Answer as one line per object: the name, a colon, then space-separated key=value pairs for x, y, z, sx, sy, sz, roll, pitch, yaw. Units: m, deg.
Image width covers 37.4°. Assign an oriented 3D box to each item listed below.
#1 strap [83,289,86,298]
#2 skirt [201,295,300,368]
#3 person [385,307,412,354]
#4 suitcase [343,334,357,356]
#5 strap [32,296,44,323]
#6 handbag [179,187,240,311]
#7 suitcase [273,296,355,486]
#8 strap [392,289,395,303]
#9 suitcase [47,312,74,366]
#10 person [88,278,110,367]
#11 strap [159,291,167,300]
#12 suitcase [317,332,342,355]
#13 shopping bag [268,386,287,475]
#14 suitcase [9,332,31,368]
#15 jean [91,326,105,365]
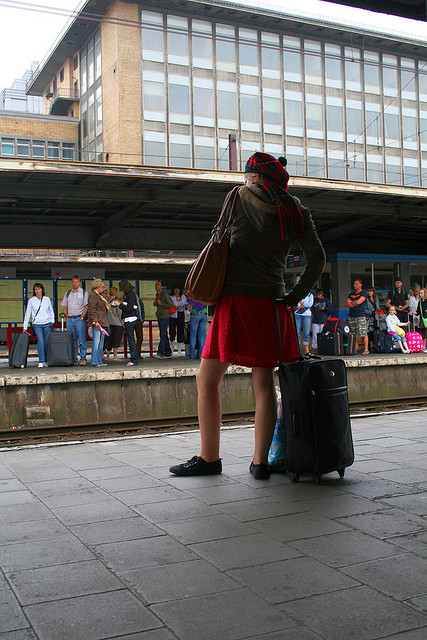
strap: x=-2.444 y=-0.519 z=11.937 sx=0.071 sy=0.138 sz=0.085 roll=-1 pitch=4 yaw=1
skirt: x=0.189 y=0.060 z=3.673 sx=0.483 sy=0.426 sz=0.370 roll=1 pitch=4 yaw=-16
person: x=4.105 y=0.214 z=13.984 sx=0.543 sy=1.017 sz=0.434 roll=-2 pitch=-3 yaw=8
suitcase: x=2.877 y=0.518 z=13.326 sx=0.283 sy=0.438 sz=0.418 roll=-2 pitch=-3 yaw=11
strap: x=-3.115 y=-0.194 z=11.132 sx=0.038 sy=0.494 sz=0.055 roll=19 pitch=-9 yaw=4
handbag: x=-0.016 y=-0.427 z=3.580 sx=0.344 sy=0.669 sz=0.245 roll=-2 pitch=-3 yaw=12
suitcase: x=0.552 y=0.373 z=3.508 sx=0.388 sy=1.034 sz=0.526 roll=-2 pitch=-3 yaw=19
strap: x=4.179 y=-0.611 z=14.645 sx=0.046 sy=0.236 sz=0.206 roll=-2 pitch=-3 yaw=17
suitcase: x=-2.716 y=0.513 z=11.106 sx=0.445 sy=0.632 sz=0.256 roll=0 pitch=-3 yaw=-18
person: x=-2.128 y=0.015 z=11.532 sx=0.357 sy=1.667 sz=1.198 roll=-1 pitch=-3 yaw=-10
strap: x=-1.096 y=-0.522 z=13.169 sx=0.025 sy=0.165 sz=0.184 roll=1 pitch=-4 yaw=-38
suitcase: x=2.482 y=0.499 z=13.367 sx=0.176 sy=0.418 sz=0.447 roll=5 pitch=-8 yaw=-25
shopping bag: x=0.381 y=0.694 z=3.757 sx=0.128 sy=0.418 sz=0.178 roll=2 pitch=6 yaw=4
suitcase: x=-3.432 y=0.527 z=11.074 sx=0.334 sy=0.616 sz=0.453 roll=0 pitch=-3 yaw=-18
jean: x=-2.106 y=0.450 z=11.398 sx=0.244 sy=0.702 sz=0.470 roll=-1 pitch=-3 yaw=-11
